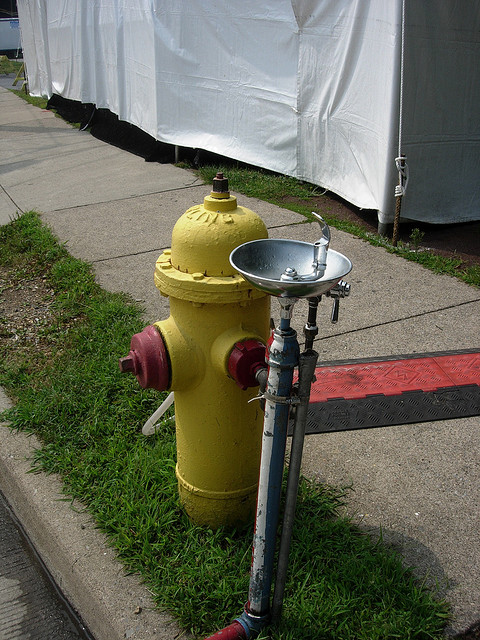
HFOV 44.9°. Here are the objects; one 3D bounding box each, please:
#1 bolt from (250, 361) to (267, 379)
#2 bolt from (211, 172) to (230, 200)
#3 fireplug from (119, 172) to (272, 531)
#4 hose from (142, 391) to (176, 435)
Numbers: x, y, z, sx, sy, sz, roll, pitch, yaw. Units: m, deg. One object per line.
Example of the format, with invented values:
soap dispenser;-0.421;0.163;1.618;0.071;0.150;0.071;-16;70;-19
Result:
bolt;0.053;0.144;1.656;0.040;0.042;0.042;-7;23;-26
bolt;-0.059;-0.418;1.830;0.073;0.082;0.073;-8;31;-14
fireplug;-0.120;0.172;1.850;0.478;1.211;0.420;7;20;11
hose;-0.352;0.414;2.536;0.080;0.286;0.066;24;31;-6
